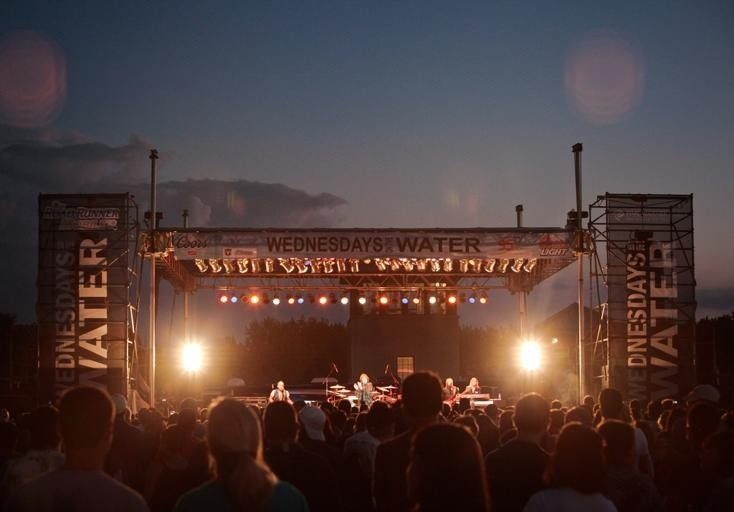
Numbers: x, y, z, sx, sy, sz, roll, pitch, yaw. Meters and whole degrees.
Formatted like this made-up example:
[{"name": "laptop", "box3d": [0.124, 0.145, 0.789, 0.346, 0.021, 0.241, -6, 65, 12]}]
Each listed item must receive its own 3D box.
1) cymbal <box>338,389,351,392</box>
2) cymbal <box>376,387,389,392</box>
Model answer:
[{"name": "cymbal", "box3d": [-0.887, 5.187, 38.048, 0.227, 0.108, 0.231, 0, -3, 41]}, {"name": "cymbal", "box3d": [0.554, 5.025, 37.185, 0.365, 0.133, 0.380, -3, -20, 4]}]
